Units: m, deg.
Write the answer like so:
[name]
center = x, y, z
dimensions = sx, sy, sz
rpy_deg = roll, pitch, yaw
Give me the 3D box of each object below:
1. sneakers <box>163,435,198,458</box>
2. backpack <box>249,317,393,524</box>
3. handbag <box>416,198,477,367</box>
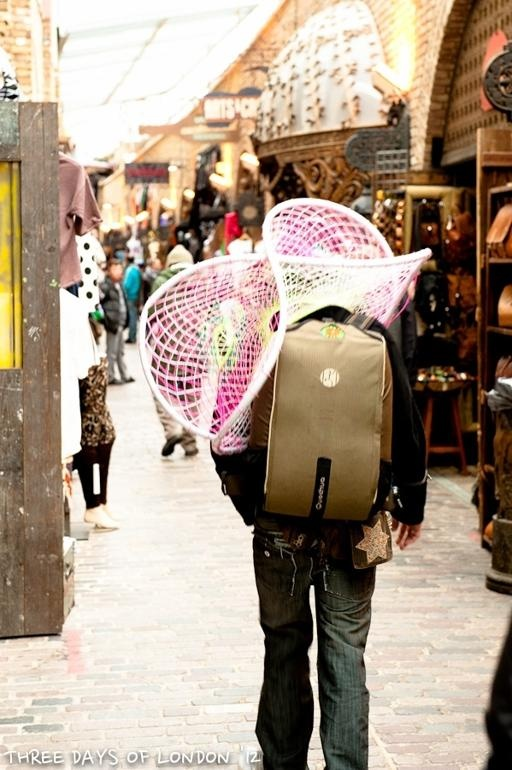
[sneakers]
center = -0.822, 0.643, 9.712
dimensions = 0.171, 0.205, 0.508
rpy_deg = 10, -35, -20
[backpack]
center = 0.202, 0.093, 2.489
dimensions = 0.404, 0.505, 0.337
rpy_deg = 2, 6, -11
[handbag]
center = 1.846, -1.033, 8.790
dimensions = 0.630, 1.721, 0.485
rpy_deg = 1, 6, 9
